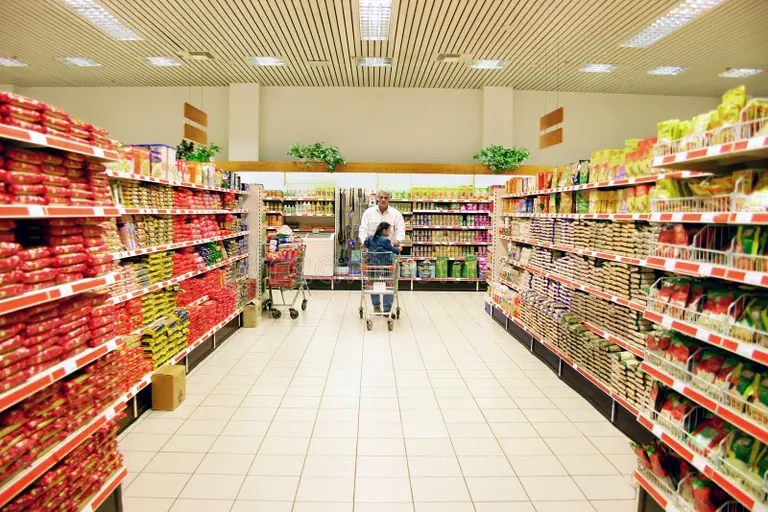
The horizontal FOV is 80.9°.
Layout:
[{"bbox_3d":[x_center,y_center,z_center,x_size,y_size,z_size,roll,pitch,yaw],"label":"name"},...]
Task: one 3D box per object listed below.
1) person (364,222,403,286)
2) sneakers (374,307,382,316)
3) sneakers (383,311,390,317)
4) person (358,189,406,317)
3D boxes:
[{"bbox_3d":[-0.048,0.061,7.249,0.489,1.126,0.426,12,23,26],"label":"person"},{"bbox_3d":[-0.112,0.913,7.477,0.114,0.154,0.172,1,-11,-2],"label":"sneakers"},{"bbox_3d":[0.043,0.951,7.352,0.151,0.126,0.099,2,-6,-9],"label":"sneakers"},{"bbox_3d":[-0.081,-0.070,7.753,1.008,1.950,0.863,-1,4,0],"label":"person"}]
